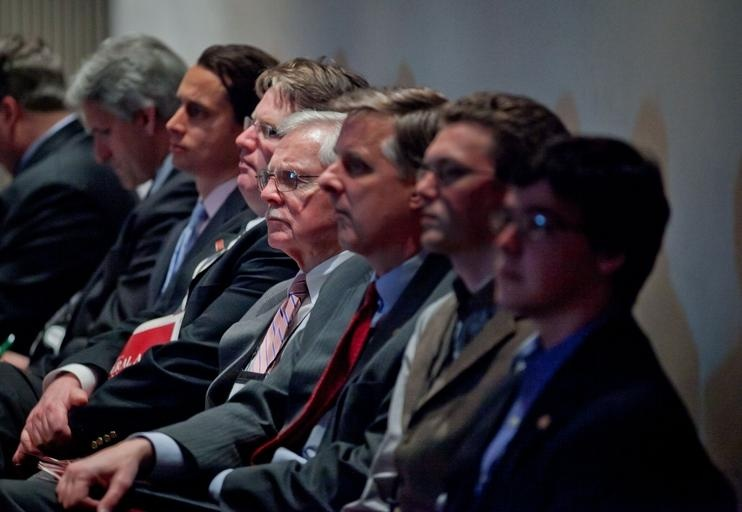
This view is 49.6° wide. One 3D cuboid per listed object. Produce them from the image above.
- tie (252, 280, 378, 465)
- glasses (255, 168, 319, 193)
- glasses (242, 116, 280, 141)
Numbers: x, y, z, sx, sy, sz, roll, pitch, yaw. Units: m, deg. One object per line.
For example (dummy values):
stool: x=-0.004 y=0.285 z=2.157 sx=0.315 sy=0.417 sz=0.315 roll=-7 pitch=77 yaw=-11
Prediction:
tie: x=-0.125 y=0.286 z=1.885 sx=0.072 sy=0.449 sz=0.064 roll=25 pitch=-9 yaw=30
glasses: x=-0.224 y=-0.201 z=2.106 sx=0.092 sy=0.030 sz=0.093 roll=-2 pitch=-6 yaw=43
glasses: x=-0.329 y=-0.393 z=2.480 sx=0.108 sy=0.036 sz=0.112 roll=28 pitch=4 yaw=40
